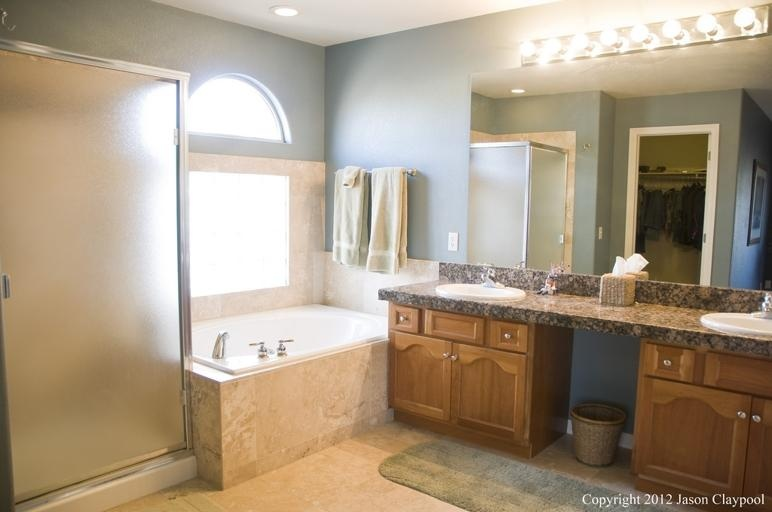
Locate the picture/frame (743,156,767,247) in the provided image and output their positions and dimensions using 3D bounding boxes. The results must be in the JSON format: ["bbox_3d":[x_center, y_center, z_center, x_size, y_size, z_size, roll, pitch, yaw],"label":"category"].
[{"bbox_3d":[2.306,-0.327,3.453,0.088,0.524,0.093,5,10,35],"label":"picture/frame"}]

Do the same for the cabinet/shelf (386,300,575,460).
[{"bbox_3d":[0.677,0.806,4.229,1.160,0.975,0.645,5,5,41],"label":"cabinet/shelf"}]

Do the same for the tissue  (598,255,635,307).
[{"bbox_3d":[1.549,0.169,3.725,0.195,0.303,0.257,5,9,38],"label":"tissue "}]

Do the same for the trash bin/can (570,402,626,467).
[{"bbox_3d":[1.497,1.195,3.914,0.393,0.291,0.372,-5,10,-35],"label":"trash bin/can"}]

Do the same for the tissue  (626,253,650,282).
[{"bbox_3d":[1.692,0.081,3.730,0.170,0.199,0.114,6,10,44],"label":"tissue "}]

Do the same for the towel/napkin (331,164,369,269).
[{"bbox_3d":[-0.295,-0.321,4.836,0.340,0.883,0.209,6,10,41],"label":"towel/napkin"}]

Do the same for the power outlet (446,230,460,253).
[{"bbox_3d":[0.540,-0.122,4.463,0.020,0.240,0.173,-4,5,-44],"label":"power outlet"}]

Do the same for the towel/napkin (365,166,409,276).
[{"bbox_3d":[0.007,-0.298,4.627,0.309,0.858,0.234,1,8,14],"label":"towel/napkin"}]
